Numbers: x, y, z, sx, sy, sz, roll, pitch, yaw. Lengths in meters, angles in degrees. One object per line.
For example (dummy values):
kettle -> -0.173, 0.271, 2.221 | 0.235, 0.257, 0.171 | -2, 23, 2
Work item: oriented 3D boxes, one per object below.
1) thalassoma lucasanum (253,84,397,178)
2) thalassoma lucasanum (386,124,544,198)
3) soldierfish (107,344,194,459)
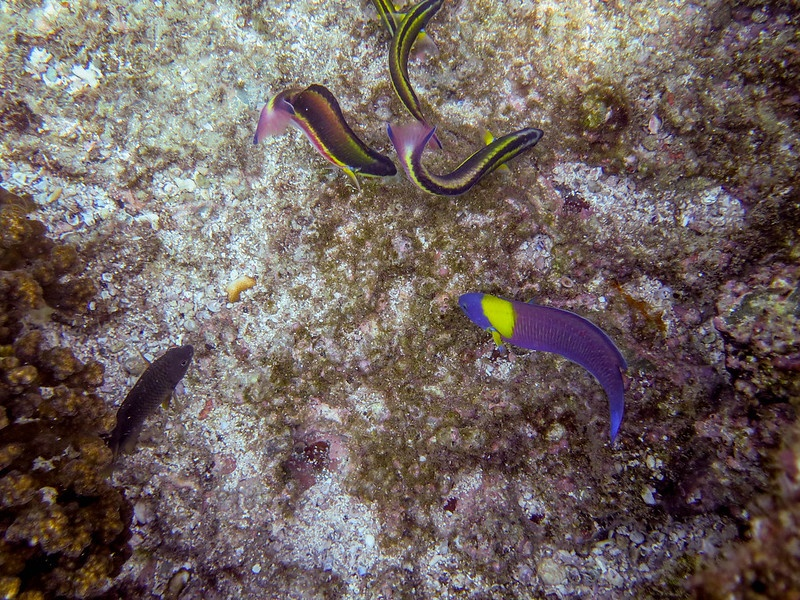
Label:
thalassoma lucasanum -> -0.612, -1.261, 5.590 | 1.119, 0.679, 0.869 | 21, 35, 30
thalassoma lucasanum -> 0.464, -1.018, 5.660 | 1.098, 0.505, 0.371 | 1, -7, 4
soldierfish -> -1.887, 0.718, 5.709 | 0.207, 0.958, 0.220 | 37, -3, 8
